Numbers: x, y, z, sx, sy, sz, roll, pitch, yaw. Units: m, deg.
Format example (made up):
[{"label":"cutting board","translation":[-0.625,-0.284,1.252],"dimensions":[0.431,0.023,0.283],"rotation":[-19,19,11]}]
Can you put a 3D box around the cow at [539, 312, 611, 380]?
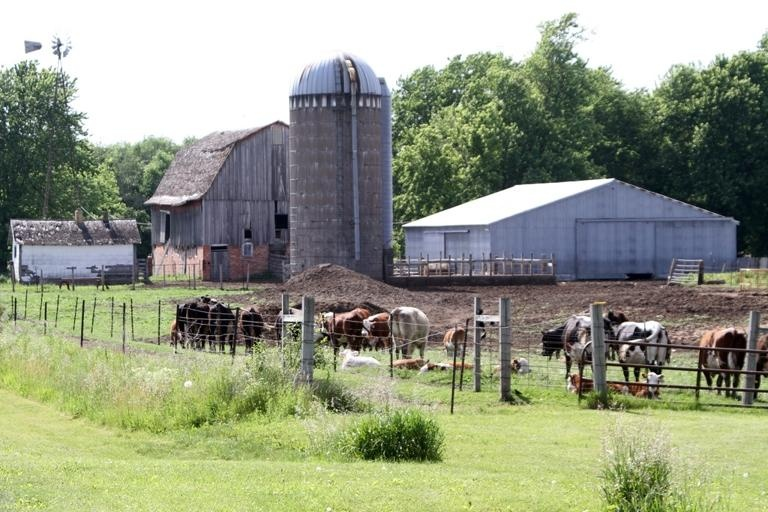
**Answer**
[{"label":"cow","translation":[8.667,3.728,59.090],"dimensions":[1.489,2.656,4.472],"rotation":[3,-4,-21]}]

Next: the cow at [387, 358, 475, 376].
[{"label":"cow","translation":[2.050,4.700,57.482],"dimensions":[3.510,0.440,1.534],"rotation":[4,15,17]}]

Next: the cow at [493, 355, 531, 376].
[{"label":"cow","translation":[5.710,4.723,57.615],"dimensions":[1.062,0.440,0.784],"rotation":[-3,6,34]}]

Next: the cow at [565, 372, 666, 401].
[{"label":"cow","translation":[9.546,5.192,54.542],"dimensions":[3.792,1.072,2.154],"rotation":[1,15,5]}]

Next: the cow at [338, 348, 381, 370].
[{"label":"cow","translation":[-1.016,4.487,58.823],"dimensions":[1.740,0.626,2.025],"rotation":[-1,15,-3]}]
